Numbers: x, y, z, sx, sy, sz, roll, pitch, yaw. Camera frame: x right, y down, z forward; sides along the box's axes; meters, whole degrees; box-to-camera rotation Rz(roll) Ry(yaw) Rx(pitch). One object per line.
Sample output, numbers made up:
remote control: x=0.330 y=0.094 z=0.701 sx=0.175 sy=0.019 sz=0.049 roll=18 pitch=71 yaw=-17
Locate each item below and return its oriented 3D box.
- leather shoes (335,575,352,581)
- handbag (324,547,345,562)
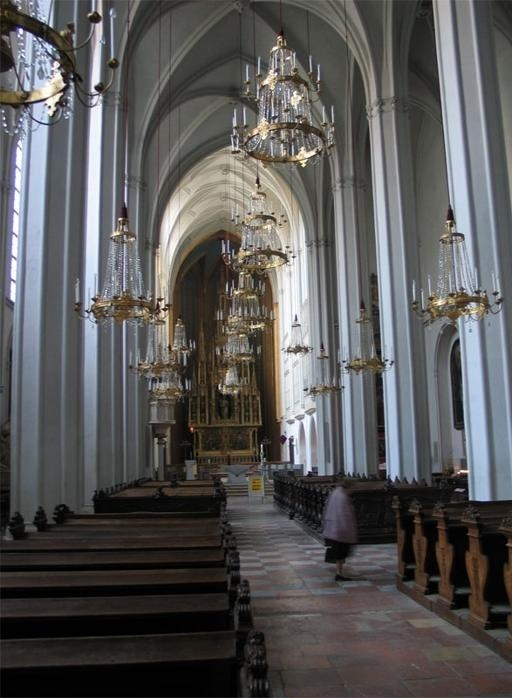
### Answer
leather shoes: x=0.939 y=2.486 z=7.897 sx=0.179 sy=0.070 sz=0.060 roll=-1 pitch=-4 yaw=0
handbag: x=0.856 y=2.302 z=8.090 sx=0.177 sy=0.235 sz=0.243 roll=5 pitch=-11 yaw=5
